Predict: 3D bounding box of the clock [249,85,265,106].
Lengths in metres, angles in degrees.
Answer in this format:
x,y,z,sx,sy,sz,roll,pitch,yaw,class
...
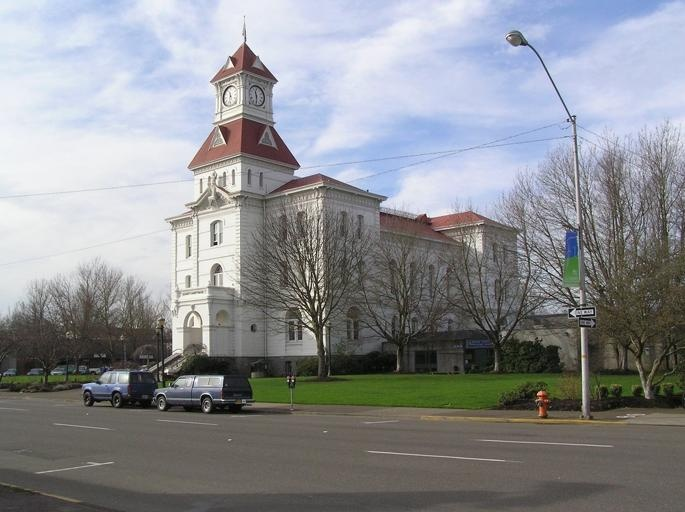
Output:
x,y,z,sx,sy,sz,roll,pitch,yaw,class
-7.303,-13.687,73.346,0.126,1.709,1.708,-10,12,42,clock

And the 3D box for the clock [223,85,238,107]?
x,y,z,sx,sy,sz,roll,pitch,yaw,class
-9.575,-13.609,73.304,0.241,1.793,2.060,9,-16,-37,clock

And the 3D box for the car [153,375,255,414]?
x,y,z,sx,sy,sz,roll,pitch,yaw,class
-6.817,6.671,41.165,5.576,1.847,1.665,-10,-16,34,car

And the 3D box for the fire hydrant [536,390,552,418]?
x,y,z,sx,sy,sz,roll,pitch,yaw,class
8.092,6.022,34.670,1.039,1.086,0.563,0,-3,0,fire hydrant

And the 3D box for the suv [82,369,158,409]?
x,y,z,sx,sy,sz,roll,pitch,yaw,class
-11.399,6.871,44.274,3.844,1.931,1.153,-7,-14,26,suv

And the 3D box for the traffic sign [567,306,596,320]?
x,y,z,sx,sy,sz,roll,pitch,yaw,class
9.267,2.211,33.374,0.960,0.524,0.731,-4,-13,12,traffic sign
